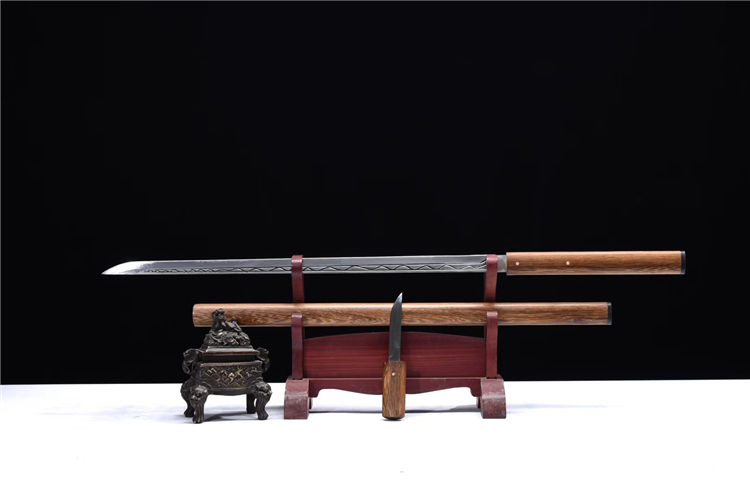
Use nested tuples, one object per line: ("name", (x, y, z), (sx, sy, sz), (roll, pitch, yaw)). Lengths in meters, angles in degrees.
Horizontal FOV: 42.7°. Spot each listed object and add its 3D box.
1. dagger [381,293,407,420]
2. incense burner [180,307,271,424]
("dagger", (0.127, 0.674, 5.884), (0.168, 0.757, 0.089), (-2, -2, 34))
("incense burner", (-0.921, 0.711, 5.924), (0.582, 0.604, 0.442), (1, 2, -16))
